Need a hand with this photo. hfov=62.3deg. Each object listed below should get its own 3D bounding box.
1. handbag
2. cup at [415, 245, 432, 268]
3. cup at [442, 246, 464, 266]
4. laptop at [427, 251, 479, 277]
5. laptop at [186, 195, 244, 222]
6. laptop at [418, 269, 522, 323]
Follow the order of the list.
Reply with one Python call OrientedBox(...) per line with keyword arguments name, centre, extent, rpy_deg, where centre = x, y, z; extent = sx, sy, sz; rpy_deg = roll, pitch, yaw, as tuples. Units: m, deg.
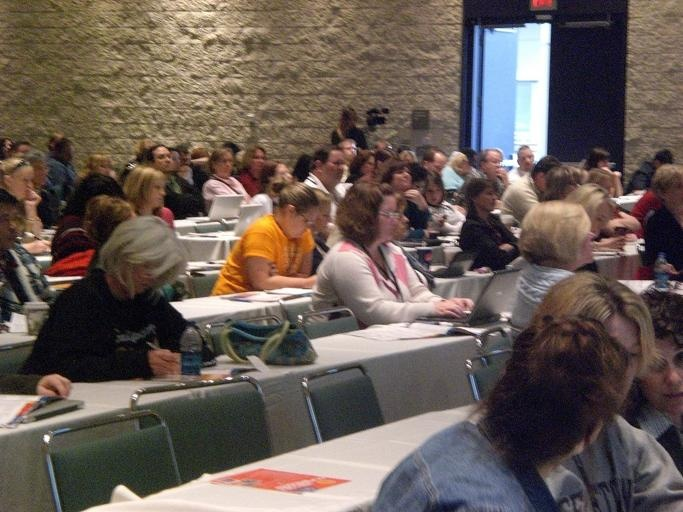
OrientedBox(name="handbag", centre=(-0.336, 0.379, 2.531), extent=(0.360, 0.109, 0.214), rpy_deg=(1, -2, 4))
OrientedBox(name="cup", centre=(0.723, 0.015, 5.175), extent=(0.222, 0.192, 0.197), rpy_deg=(0, 5, 4))
OrientedBox(name="cup", centre=(1.072, -0.016, 5.370), extent=(0.200, 0.158, 0.197), rpy_deg=(-16, 8, 2))
OrientedBox(name="laptop", centre=(0.911, 0.059, 4.873), extent=(0.266, 0.164, 0.323), rpy_deg=(3, 7, 34))
OrientedBox(name="laptop", centre=(-1.785, -0.678, 8.098), extent=(0.472, 0.266, 0.535), rpy_deg=(3, 4, 43))
OrientedBox(name="laptop", centre=(0.813, 0.254, 3.714), extent=(0.450, 0.251, 0.501), rpy_deg=(1, 5, 36))
